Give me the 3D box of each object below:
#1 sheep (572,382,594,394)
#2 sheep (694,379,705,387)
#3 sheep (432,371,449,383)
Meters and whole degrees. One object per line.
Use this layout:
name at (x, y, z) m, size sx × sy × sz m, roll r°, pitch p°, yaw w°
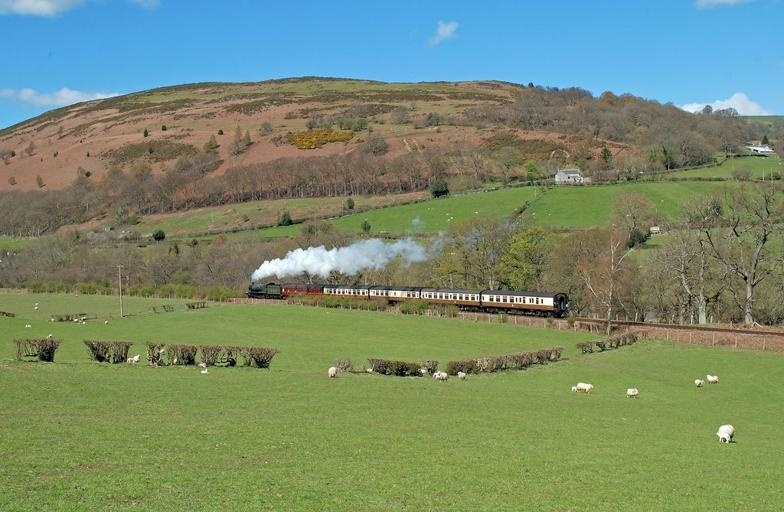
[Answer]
sheep at (28.610, 19.390, 138.780) m, size 4.173 × 2.004 × 1.203 m, roll -3°, pitch 4°, yaw 5°
sheep at (45.978, 19.057, 141.471) m, size 1.249 × 1.014 × 1.914 m, roll -3°, pitch -4°, yaw 29°
sheep at (7.171, 18.002, 140.444) m, size 1.695 × 1.385 × 2.415 m, roll 1°, pitch -5°, yaw -32°
